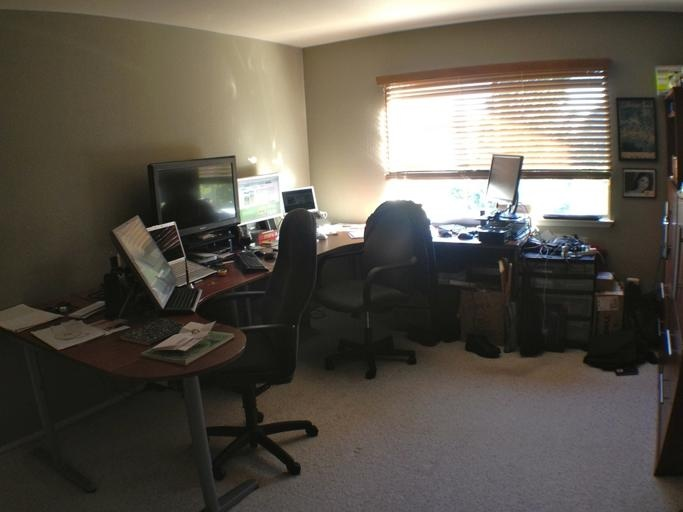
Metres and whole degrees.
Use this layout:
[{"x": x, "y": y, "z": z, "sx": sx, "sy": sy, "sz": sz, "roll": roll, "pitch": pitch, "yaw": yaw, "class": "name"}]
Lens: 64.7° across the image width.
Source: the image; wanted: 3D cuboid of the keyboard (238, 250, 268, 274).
[{"x": -0.708, "y": 0.049, "z": 4.257, "sx": 0.330, "sy": 0.104, "sz": 0.737, "roll": 3, "pitch": 7, "yaw": -13, "class": "keyboard"}]

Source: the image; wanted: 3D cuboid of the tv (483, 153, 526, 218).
[{"x": 1.488, "y": -0.653, "z": 4.886, "sx": 0.175, "sy": 0.563, "sz": 0.544, "roll": 3, "pitch": 8, "yaw": -10, "class": "tv"}]

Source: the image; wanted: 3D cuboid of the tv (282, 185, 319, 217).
[{"x": -0.399, "y": -0.512, "z": 4.969, "sx": 0.429, "sy": 0.313, "sz": 0.118, "roll": -15, "pitch": 11, "yaw": -39, "class": "tv"}]

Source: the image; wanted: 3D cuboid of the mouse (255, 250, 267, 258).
[{"x": -0.697, "y": -0.019, "z": 4.580, "sx": 0.074, "sy": 0.075, "sz": 0.058, "roll": -15, "pitch": 7, "yaw": 32, "class": "mouse"}]

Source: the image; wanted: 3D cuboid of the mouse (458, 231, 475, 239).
[{"x": 1.128, "y": -0.187, "z": 4.827, "sx": 0.110, "sy": 0.042, "sz": 0.071, "roll": -2, "pitch": 32, "yaw": 4, "class": "mouse"}]

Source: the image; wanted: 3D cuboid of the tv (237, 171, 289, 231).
[{"x": -0.743, "y": -0.496, "z": 4.924, "sx": 0.075, "sy": 0.407, "sz": 0.544, "roll": -2, "pitch": 13, "yaw": 41, "class": "tv"}]

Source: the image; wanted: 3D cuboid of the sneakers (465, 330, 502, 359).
[{"x": 1.194, "y": 0.743, "z": 4.550, "sx": 0.259, "sy": 0.160, "sz": 0.150, "roll": 6, "pitch": 30, "yaw": 38, "class": "sneakers"}]

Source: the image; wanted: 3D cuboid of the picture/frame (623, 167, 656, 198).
[{"x": 2.658, "y": -0.663, "z": 4.783, "sx": 0.255, "sy": 0.272, "sz": 0.018, "roll": -1, "pitch": 3, "yaw": 23, "class": "picture/frame"}]

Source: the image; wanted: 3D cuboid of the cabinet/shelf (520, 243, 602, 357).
[{"x": 1.802, "y": 0.351, "z": 4.778, "sx": 0.792, "sy": 1.019, "sz": 0.729, "roll": 2, "pitch": 3, "yaw": 19, "class": "cabinet/shelf"}]
